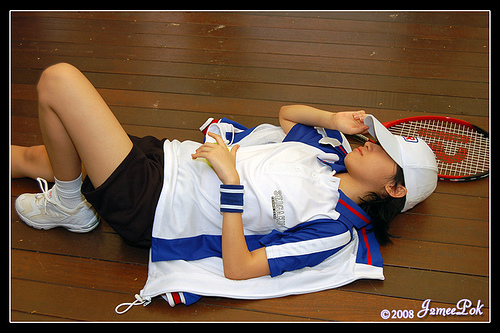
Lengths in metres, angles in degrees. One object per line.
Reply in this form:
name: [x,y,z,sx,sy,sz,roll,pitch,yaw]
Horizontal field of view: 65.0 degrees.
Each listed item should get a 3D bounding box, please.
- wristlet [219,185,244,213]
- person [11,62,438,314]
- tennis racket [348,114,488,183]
wristlet: [-0.093,0.168,2.016,0.123,0.137,0.064,-2,23,-4]
person: [-0.113,0.363,2.475,2.309,0.815,1.318,12,54,-6]
tennis racket: [1.214,-0.191,2.898,0.106,0.547,1.314,-44,28,-17]
